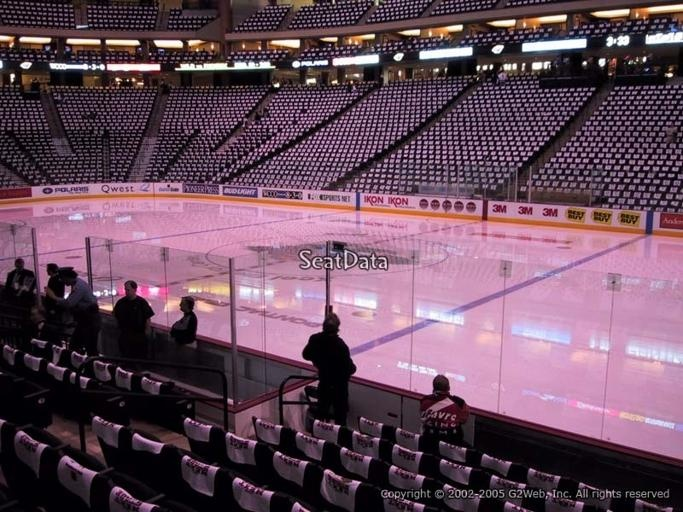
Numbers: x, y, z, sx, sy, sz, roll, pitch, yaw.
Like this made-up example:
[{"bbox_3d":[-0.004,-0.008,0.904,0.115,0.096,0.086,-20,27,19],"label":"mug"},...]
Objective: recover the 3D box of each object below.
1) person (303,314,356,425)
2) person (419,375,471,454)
[{"bbox_3d":[-0.137,1.624,8.428,0.677,1.920,0.582,8,17,26],"label":"person"},{"bbox_3d":[1.190,1.887,7.509,0.472,1.160,0.656,7,42,17],"label":"person"}]
